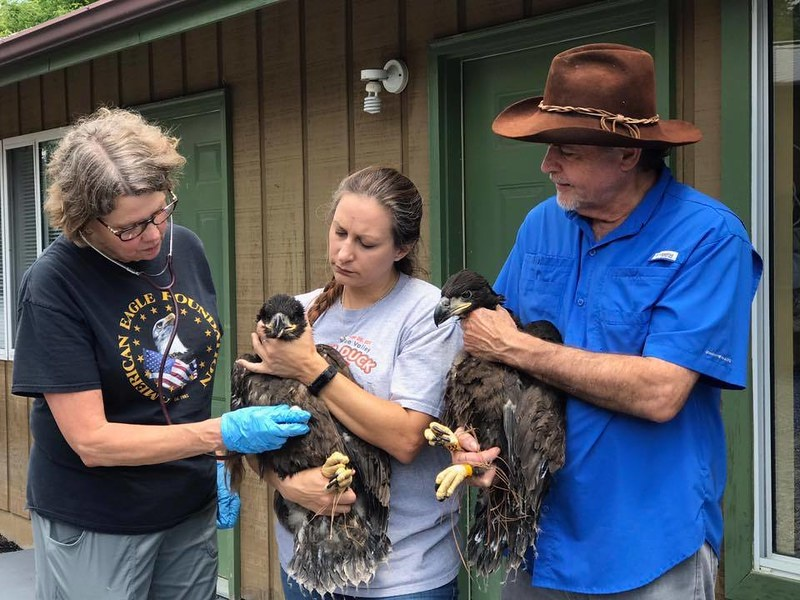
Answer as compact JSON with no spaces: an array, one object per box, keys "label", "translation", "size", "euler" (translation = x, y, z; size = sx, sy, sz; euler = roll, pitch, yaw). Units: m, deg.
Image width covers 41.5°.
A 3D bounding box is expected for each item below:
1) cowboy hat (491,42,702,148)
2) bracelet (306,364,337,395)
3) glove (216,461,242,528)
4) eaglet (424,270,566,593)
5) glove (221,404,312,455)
[{"label":"cowboy hat","translation":[0.961,-0.901,4.986],"size":[0.912,0.513,0.611],"euler":[8,10,37]},{"label":"bracelet","translation":[-0.362,0.365,4.902],"size":[0.138,0.052,0.137],"euler":[-38,-5,4]},{"label":"glove","translation":[-0.911,1.061,5.657],"size":[0.135,0.350,0.265],"euler":[-6,2,-17]},{"label":"eaglet","translation":[0.494,0.589,5.098],"size":[0.654,1.363,0.789],"euler":[0,-8,45]},{"label":"glove","translation":[-0.627,0.604,4.981],"size":[0.426,0.210,0.124],"euler":[-3,-5,-7]}]
